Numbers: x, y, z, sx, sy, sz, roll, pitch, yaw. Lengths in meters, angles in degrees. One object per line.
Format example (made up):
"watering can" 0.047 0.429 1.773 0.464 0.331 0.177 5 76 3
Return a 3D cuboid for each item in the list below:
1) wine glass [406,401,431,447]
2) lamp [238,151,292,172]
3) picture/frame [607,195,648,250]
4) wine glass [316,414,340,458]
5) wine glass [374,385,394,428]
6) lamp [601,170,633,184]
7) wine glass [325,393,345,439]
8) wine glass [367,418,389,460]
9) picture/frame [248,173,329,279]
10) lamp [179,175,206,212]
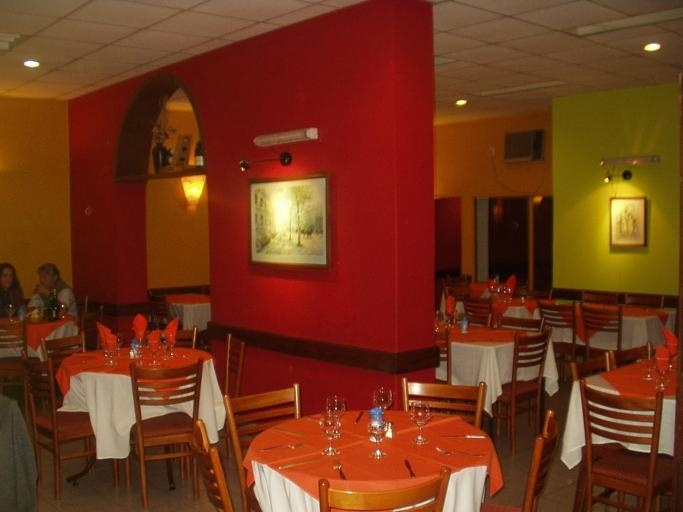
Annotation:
"wine glass" 0.556 1.155 4.366 0.136 0.256 0.332 -1 3 6
"lamp" -0.891 -1.067 6.995 0.890 0.169 0.133 0 3 41
"picture/frame" 4.483 -0.519 9.582 0.044 1.113 0.715 1 -4 -44
"wine glass" -0.073 1.200 4.237 0.134 0.230 0.354 -2 3 -1
"wine glass" 0.285 1.093 4.448 0.155 0.270 0.168 -3 -29 31
"lamp" 4.347 -1.243 9.694 0.145 0.177 0.377 -5 7 -31
"wine glass" -0.025 1.143 4.422 0.138 0.321 0.152 -2 11 4
"wine glass" 0.239 1.215 4.141 0.106 0.220 0.265 -2 3 2
"picture/frame" -0.549 -0.360 6.733 1.137 0.969 0.121 0 3 38
"lamp" -2.856 -1.317 11.759 0.519 0.661 0.528 -8 18 -36
